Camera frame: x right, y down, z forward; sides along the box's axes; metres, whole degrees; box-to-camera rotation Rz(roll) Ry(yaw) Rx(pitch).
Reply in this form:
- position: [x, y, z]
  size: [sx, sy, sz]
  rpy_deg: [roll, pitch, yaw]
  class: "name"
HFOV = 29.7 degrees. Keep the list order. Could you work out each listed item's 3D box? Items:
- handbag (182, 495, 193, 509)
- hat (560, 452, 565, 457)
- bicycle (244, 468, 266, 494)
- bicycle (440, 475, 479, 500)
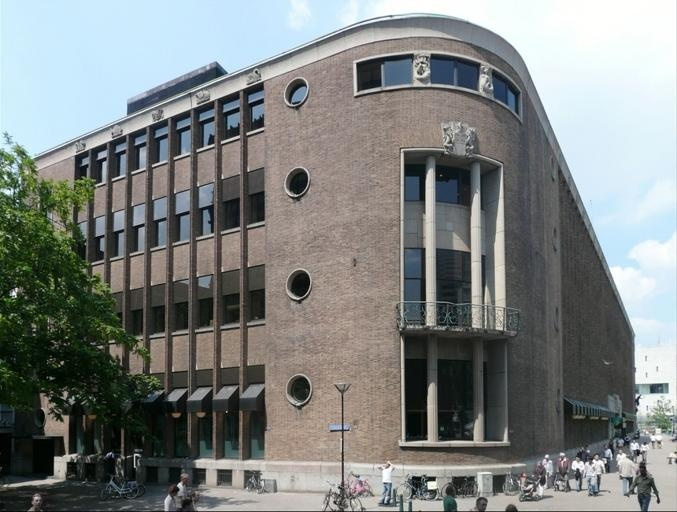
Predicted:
- position: [-7.746, 12.638, 65.507]
  size: [0.499, 1.000, 0.522]
  rpy_deg: [9, -16, -44]
  class: "handbag"
- position: [13.896, 12.390, 79.576]
  size: [0.325, 0.348, 0.323]
  rpy_deg: [-6, -12, 39]
  class: "hat"
- position: [-5.168, 13.983, 79.290]
  size: [0.789, 1.047, 1.609]
  rpy_deg: [7, -6, -36]
  class: "bicycle"
- position: [7.259, 13.991, 77.219]
  size: [2.347, 1.630, 1.245]
  rpy_deg: [6, -19, -9]
  class: "bicycle"
